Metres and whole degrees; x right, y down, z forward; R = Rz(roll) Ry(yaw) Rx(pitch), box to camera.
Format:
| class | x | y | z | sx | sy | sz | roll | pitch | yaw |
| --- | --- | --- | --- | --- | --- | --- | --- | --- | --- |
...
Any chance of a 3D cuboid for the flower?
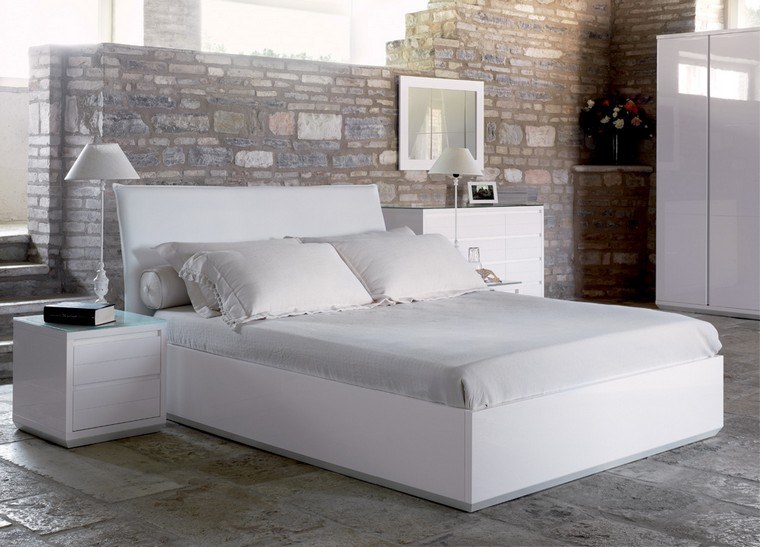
| class | x | y | z | sx | sy | sz | roll | pitch | yaw |
| --- | --- | --- | --- | --- | --- | --- | --- | --- | --- |
| flower | 3.158 | -2.105 | 8.066 | 0.856 | 0.313 | 0.750 | 12 | 27 | 20 |

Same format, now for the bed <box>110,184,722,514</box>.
| class | x | y | z | sx | sy | sz | roll | pitch | yaw |
| --- | --- | --- | --- | --- | --- | --- | --- | --- | --- |
| bed | -0.092 | 0.390 | 3.896 | 2.373 | 1.253 | 3.112 | -5 | 6 | -43 |

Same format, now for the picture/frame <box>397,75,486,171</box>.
| class | x | y | z | sx | sy | sz | roll | pitch | yaw |
| --- | --- | --- | --- | --- | --- | --- | --- | --- | --- |
| picture/frame | 0.738 | -1.684 | 7.004 | 0.098 | 1.000 | 1.396 | -14 | 22 | -32 |
